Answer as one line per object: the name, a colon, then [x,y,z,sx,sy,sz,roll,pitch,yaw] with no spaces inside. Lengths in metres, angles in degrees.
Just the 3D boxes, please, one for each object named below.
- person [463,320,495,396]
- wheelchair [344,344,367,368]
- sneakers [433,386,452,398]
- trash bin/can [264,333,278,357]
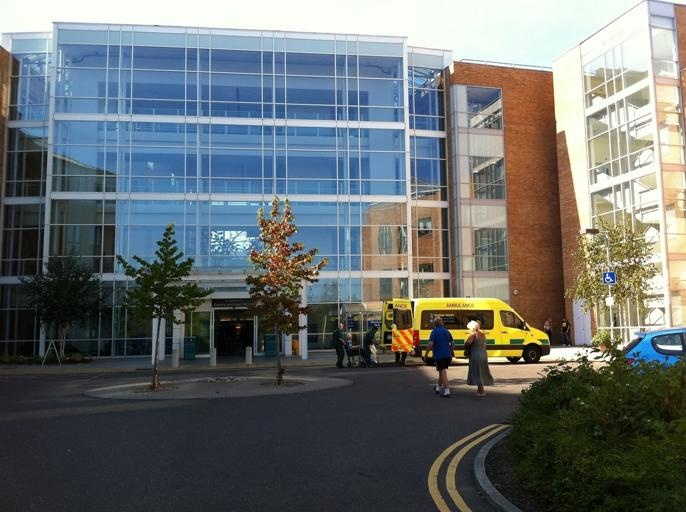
person: [3.826,2.899,17.484,0.672,2.083,1.483,-4,0,10]
wheelchair: [0.688,4.796,29.418,1.115,1.366,1.081,-7,-10,33]
sneakers: [2.792,3.782,17.087,0.198,0.291,0.645,2,-1,-6]
trash bin/can: [-4.398,5.460,37.294,0.570,1.314,0.493,-4,0,-21]
